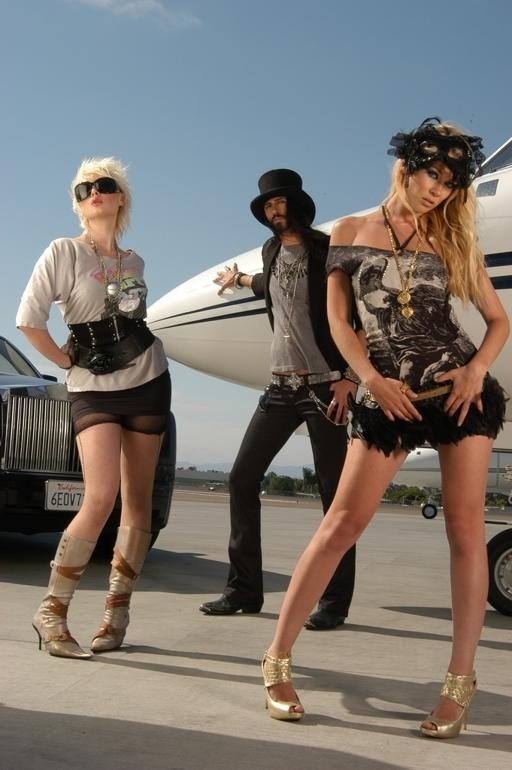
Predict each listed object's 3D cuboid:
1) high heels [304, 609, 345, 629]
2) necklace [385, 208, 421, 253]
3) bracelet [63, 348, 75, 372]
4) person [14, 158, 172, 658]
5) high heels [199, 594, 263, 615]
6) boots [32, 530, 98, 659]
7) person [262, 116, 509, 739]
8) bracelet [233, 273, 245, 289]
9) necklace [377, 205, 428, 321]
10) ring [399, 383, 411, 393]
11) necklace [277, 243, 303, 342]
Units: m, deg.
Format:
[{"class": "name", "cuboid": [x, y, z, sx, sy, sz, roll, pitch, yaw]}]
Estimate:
[{"class": "high heels", "cuboid": [0.312, 1.092, 2.949, 0.209, 0.074, 0.073, 11, -18, -41]}, {"class": "necklace", "cuboid": [0.365, -0.387, 1.587, 0.068, 0.102, 0.024, -18, -8, -22]}, {"class": "bracelet", "cuboid": [-0.678, -0.094, 2.309, 0.034, 0.085, 0.064, 0, 6, -17]}, {"class": "person", "cuboid": [-0.594, 0.078, 2.322, 0.401, 1.856, 0.577, 5, 7, 25]}, {"class": "high heels", "cuboid": [-0.116, 1.086, 3.159, 0.362, 0.115, 0.108, 6, -9, -11]}, {"class": "boots", "cuboid": [-0.631, 0.719, 2.167, 0.180, 0.390, 0.214, -3, 8, -37]}, {"class": "person", "cuboid": [0.353, 0.079, 1.622, 0.547, 1.527, 0.394, 4, 6, 14]}, {"class": "bracelet", "cuboid": [-0.116, -0.658, 3.990, 0.047, 0.098, 0.082, 2, -2, 12]}, {"class": "necklace", "cuboid": [0.354, -0.291, 1.581, 0.098, 0.250, 0.063, 5, 7, 24]}, {"class": "ring", "cuboid": [0.366, 0.008, 1.558, 0.020, 0.026, 0.008, -48, 16, -19]}, {"class": "necklace", "cuboid": [0.173, -0.407, 3.009, 0.100, 0.391, 0.051, 7, -17, 12]}]
